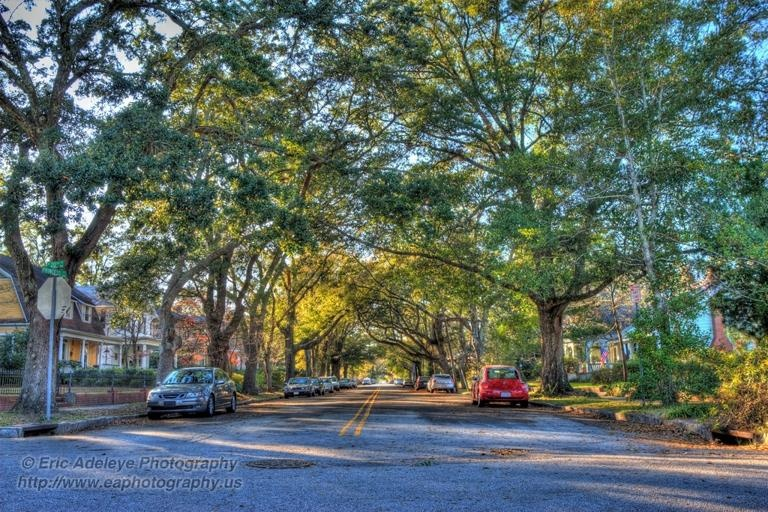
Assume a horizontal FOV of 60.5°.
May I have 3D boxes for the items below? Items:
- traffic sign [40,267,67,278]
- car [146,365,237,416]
[{"bbox_3d":[-11.590,0.587,23.079,0.882,0.363,0.453,-5,-7,39],"label":"traffic sign"},{"bbox_3d":[-7.904,5.612,27.202,2.182,1.845,3.787,-1,-6,15],"label":"car"}]
